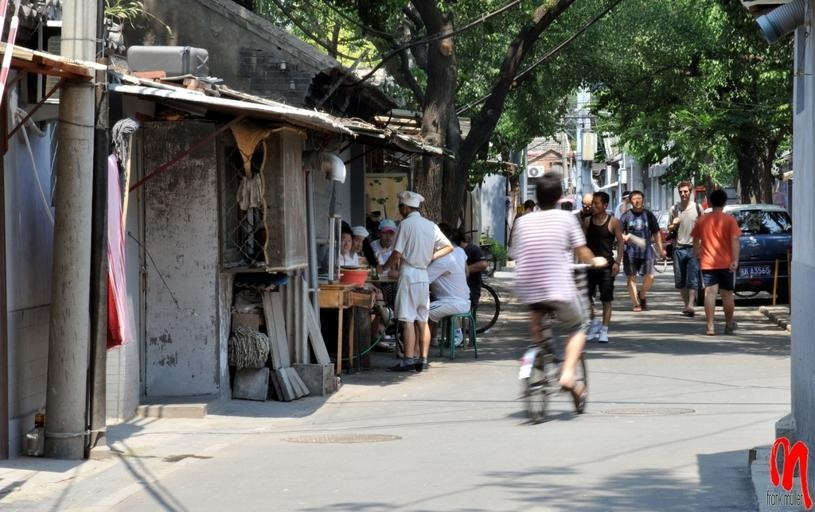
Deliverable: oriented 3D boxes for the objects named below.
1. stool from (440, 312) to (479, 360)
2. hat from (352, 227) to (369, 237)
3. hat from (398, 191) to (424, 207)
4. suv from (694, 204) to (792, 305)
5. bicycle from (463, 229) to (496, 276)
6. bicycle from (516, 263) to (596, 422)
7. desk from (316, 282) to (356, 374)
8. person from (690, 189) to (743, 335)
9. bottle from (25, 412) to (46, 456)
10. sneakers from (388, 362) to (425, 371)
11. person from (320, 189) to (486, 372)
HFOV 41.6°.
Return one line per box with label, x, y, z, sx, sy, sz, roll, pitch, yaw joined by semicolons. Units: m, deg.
stool;0.800;1.350;17.299;0.707;0.727;0.718;-6;-2;-28
hat;-0.764;-0.372;17.286;0.247;0.127;0.245;2;-5;-1
hat;0.077;-0.825;15.991;0.279;0.168;0.312;6;5;11
suv;7.626;-0.090;22.911;1.580;1.556;2.925;0;7;5
bicycle;2.505;-0.082;34.925;1.110;1.142;1.826;-2;-6;8
bicycle;1.766;1.162;13.012;0.873;1.123;1.853;-9;19;26
desk;-1.159;1.014;15.742;0.766;1.180;1.048;1;2;3
person;5.398;0.094;18.707;0.783;2.575;1.145;-2;-2;15
bottle;-3.942;1.905;11.362;0.166;0.445;0.333;0;-2;-35
sneakers;-0.009;1.652;16.008;0.530;0.199;0.180;2;1;11
person;0.282;0.399;16.121;0.635;2.661;1.530;-2;-2;28
